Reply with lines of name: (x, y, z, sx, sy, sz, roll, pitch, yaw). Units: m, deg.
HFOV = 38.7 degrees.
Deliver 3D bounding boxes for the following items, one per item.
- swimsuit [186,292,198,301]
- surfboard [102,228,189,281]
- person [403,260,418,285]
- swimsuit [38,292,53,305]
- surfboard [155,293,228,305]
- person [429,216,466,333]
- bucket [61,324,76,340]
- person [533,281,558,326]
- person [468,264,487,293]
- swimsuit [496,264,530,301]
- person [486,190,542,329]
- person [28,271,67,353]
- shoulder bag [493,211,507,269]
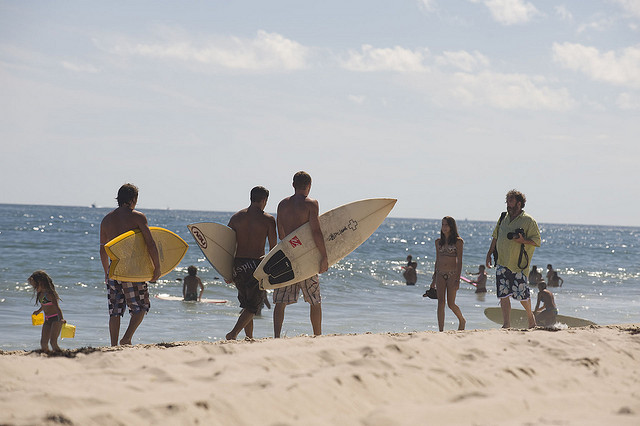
swimsuit: (-2.829, 1.831, 19.967, 0.152, 0.123, 0.150, 3, 4, 10)
surfboard: (-2.734, 0.631, 14.061, 0.352, 0.844, 1.554, -10, 2, 39)
person: (2.543, 1.698, 25.596, 0.283, 0.816, 0.316, 8, -27, 1)
swimsuit: (-4.302, 1.353, 14.189, 0.201, 0.190, 0.141, -2, -1, 39)
surfboard: (-2.921, 1.915, 20.261, 1.253, 0.215, 0.149, 4, -17, -4)
person: (2.124, 1.059, 15.213, 0.559, 1.575, 1.935, 0, 0, 8)
bucket: (-3.971, 1.890, 14.296, 0.259, 0.274, 0.192, 7, 2, 3)
person: (4.284, 1.727, 17.315, 0.416, 0.706, 1.158, 0, 0, 13)
person: (4.054, 1.665, 23.003, 0.326, 0.578, 0.830, 0, 0, 11)
swimsuit: (3.146, 1.125, 14.835, 0.533, 0.701, 0.370, 3, 8, 39)
person: (3.168, 0.737, 14.922, 0.864, 1.913, 0.497, 0, 0, 14)
person: (-4.265, 1.518, 14.226, 0.530, 1.228, 0.369, 0, 0, -14)
shoulder bag: (2.974, 0.432, 15.049, 0.222, 0.765, 0.238, 0, 0, 18)
